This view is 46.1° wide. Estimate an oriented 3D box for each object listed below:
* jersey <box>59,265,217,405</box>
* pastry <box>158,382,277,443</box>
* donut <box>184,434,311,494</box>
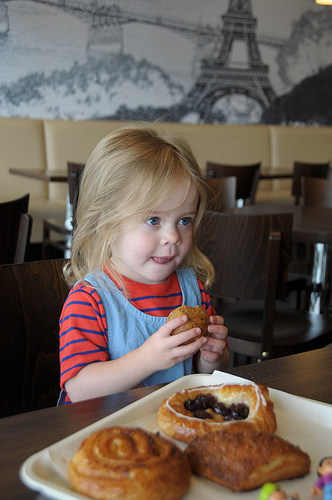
[{"bbox_3d":[-0.092,0.104,0.832,0.259,0.251,0.339,-4,14,-40],"label":"jersey"},{"bbox_3d":[0.041,0.146,0.354,0.113,0.033,0.101,1,-5,-23],"label":"pastry"},{"bbox_3d":[0.051,0.138,0.256,0.054,0.016,0.043,2,-4,-31],"label":"donut"}]
